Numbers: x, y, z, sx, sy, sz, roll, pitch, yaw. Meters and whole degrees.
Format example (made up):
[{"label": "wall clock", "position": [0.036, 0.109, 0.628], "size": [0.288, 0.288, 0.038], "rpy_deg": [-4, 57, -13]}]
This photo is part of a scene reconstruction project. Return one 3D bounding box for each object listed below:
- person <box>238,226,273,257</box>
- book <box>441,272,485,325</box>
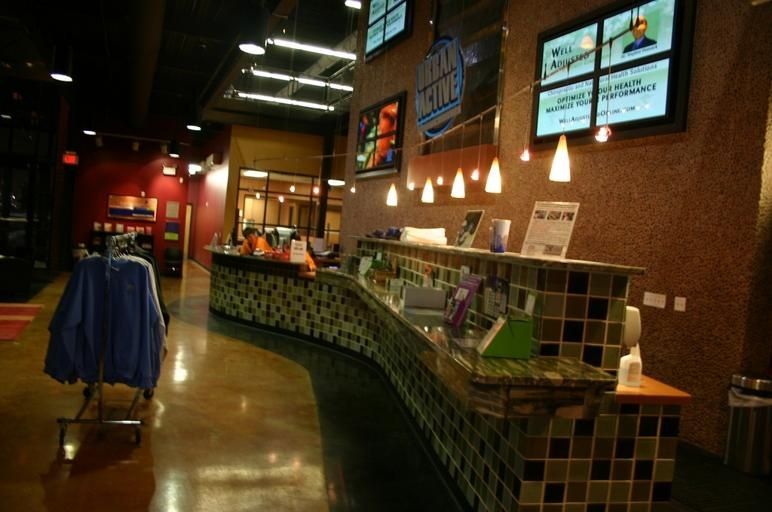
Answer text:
[{"label": "person", "position": [-2.358, -0.287, 10.456], "size": [0.518, 0.433, 0.808], "rpy_deg": [1, 12, -13]}, {"label": "book", "position": [0.641, 0.379, 4.911], "size": [0.134, 0.423, 0.316], "rpy_deg": [16, 43, -2]}]
